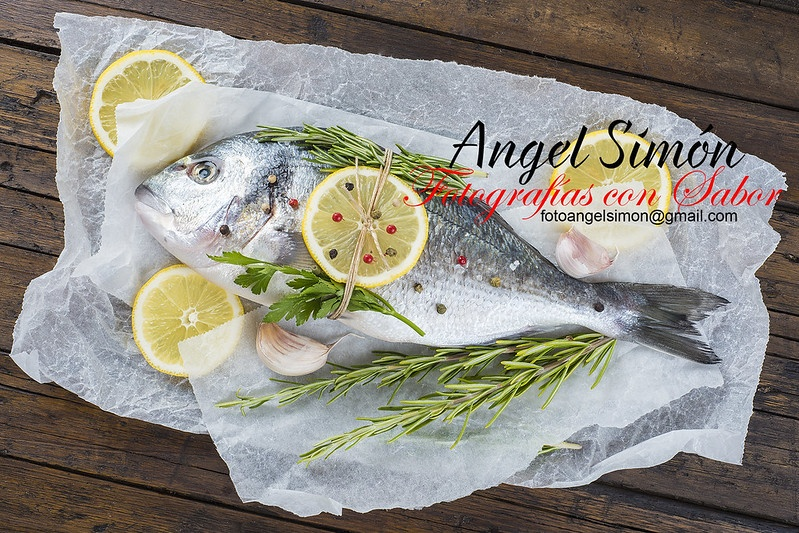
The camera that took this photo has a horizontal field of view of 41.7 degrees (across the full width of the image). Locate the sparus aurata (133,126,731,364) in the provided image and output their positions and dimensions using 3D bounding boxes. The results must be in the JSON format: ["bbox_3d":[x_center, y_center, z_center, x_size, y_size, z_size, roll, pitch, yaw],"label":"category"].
[{"bbox_3d":[0.091,-0.003,3.815,2.274,0.660,0.542,14,100,-3],"label":"sparus aurata"}]

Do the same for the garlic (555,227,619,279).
[{"bbox_3d":[0.672,-0.044,3.870,0.238,0.102,0.159,9,85,4],"label":"garlic"}]
